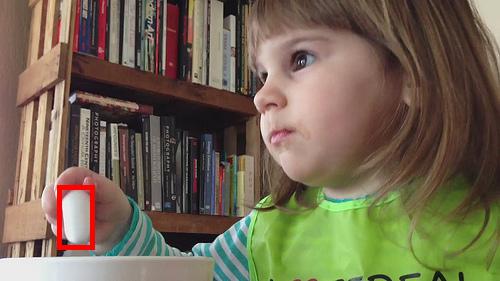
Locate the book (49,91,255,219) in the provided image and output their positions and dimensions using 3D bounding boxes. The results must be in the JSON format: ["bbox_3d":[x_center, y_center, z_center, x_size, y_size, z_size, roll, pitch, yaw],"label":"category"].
[{"bbox_3d":[-0.370,0.055,2.121,0.426,0.410,0.142,11,-21,-27],"label":"book"}]
